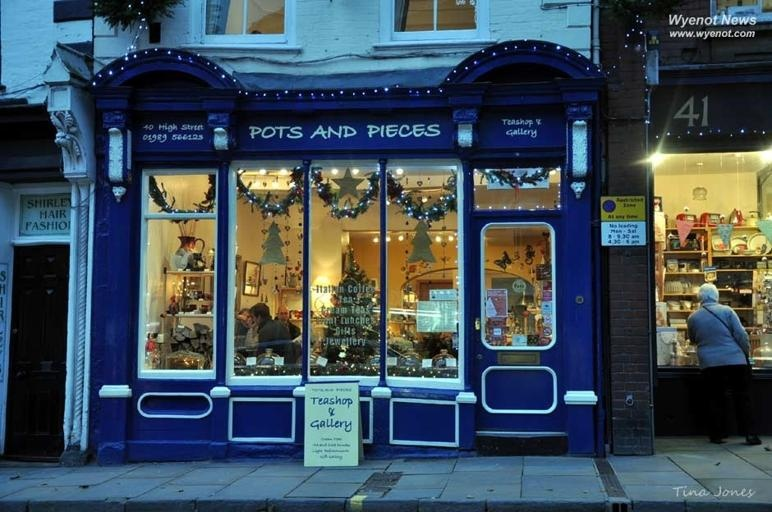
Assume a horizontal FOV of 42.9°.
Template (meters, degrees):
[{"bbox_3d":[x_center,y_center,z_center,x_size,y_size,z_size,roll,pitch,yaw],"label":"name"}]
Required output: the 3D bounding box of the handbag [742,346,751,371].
[{"bbox_3d":[5.575,1.586,15.137,0.243,0.286,0.117,-4,5,-42],"label":"handbag"}]

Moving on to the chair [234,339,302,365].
[{"bbox_3d":[-1.825,1.453,15.252,0.800,0.278,0.451,-1,-8,0],"label":"chair"}]
